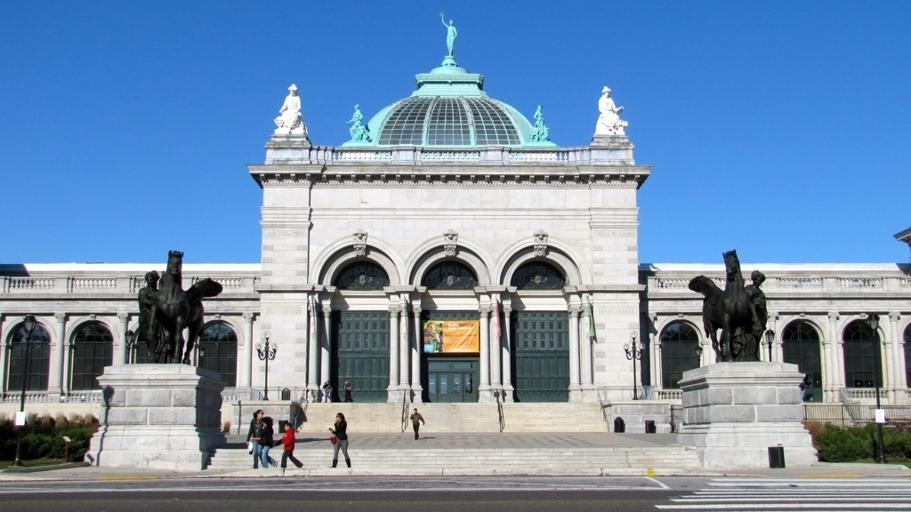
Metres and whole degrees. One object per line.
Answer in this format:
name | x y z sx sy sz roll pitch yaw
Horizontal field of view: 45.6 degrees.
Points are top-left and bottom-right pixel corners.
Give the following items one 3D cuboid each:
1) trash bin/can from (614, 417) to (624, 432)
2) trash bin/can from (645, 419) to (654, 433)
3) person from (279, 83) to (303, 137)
trash bin/can | 11.716 11.867 76.201 0.852 1.007 0.474 1 -13 -11
trash bin/can | 13.824 11.963 75.694 0.795 0.806 0.645 0 -8 -2
person | -12.905 -11.425 85.663 1.698 3.922 0.687 -5 -14 13
